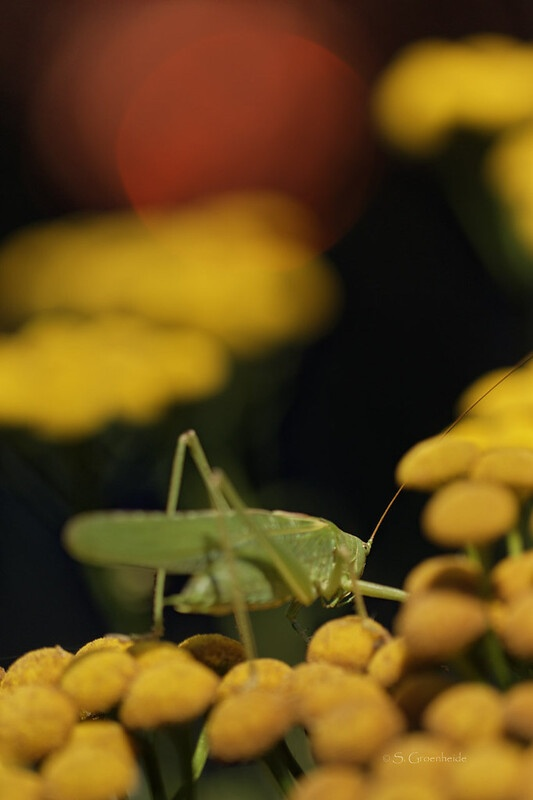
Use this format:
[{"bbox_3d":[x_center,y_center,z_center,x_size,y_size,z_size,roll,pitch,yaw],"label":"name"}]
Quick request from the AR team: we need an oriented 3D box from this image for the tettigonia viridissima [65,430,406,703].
[{"bbox_3d":[-0.006,0.099,0.546,0.247,0.108,0.143,0,-1,-19],"label":"tettigonia viridissima"}]
